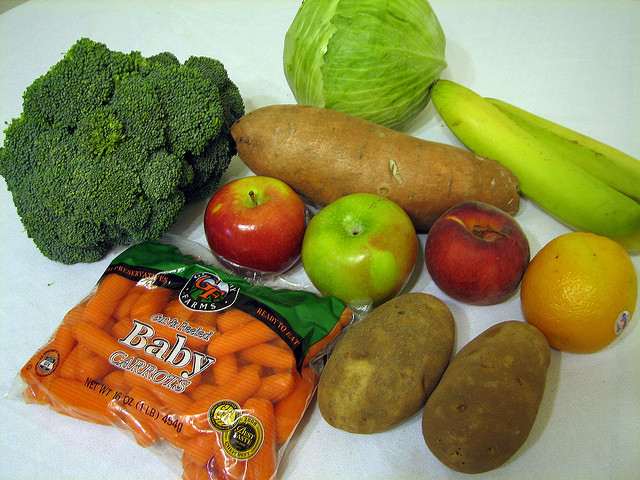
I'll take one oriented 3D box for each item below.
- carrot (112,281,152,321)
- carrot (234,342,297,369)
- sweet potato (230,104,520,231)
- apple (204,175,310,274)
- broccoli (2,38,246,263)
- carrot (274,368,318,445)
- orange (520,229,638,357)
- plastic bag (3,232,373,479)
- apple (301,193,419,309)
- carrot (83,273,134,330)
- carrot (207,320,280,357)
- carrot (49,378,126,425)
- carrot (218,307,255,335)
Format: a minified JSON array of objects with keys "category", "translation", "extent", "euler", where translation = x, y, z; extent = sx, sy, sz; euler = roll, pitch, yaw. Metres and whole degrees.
[{"category":"carrot","translation":[-0.466,0.141,1.354],"extent":[0.053,0.077,0.070],"euler":[-9,30,-27]},{"category":"carrot","translation":[-0.123,0.268,1.282],"extent":[0.126,0.036,0.045],"euler":[6,53,7]},{"category":"sweet potato","translation":[0.121,-0.195,1.615],"extent":[0.844,0.302,0.290],"euler":[15,42,12]},{"category":"apple","translation":[-0.186,-0.035,1.508],"extent":[0.215,0.233,0.228],"euler":[32,27,32]},{"category":"broccoli","translation":[-0.534,-0.256,1.538],"extent":[0.647,0.316,0.491],"euler":[-10,62,-5]},{"category":"carrot","translation":[-0.059,0.377,1.274],"extent":[0.076,0.053,0.165],"euler":[41,73,-24]},{"category":"orange","translation":[0.619,0.121,1.325],"extent":[0.251,0.143,0.257],"euler":[-7,62,-3]},{"category":"plastic bag","translation":[-0.304,0.277,1.286],"extent":[0.617,0.181,0.576],"euler":[19,57,14]},{"category":"apple","translation":[0.102,0.012,1.365],"extent":[0.242,0.253,0.267],"euler":[-10,44,8]},{"category":"carrot","translation":[-0.513,0.146,1.355],"extent":[0.065,0.046,0.139],"euler":[18,58,12]},{"category":"carrot","translation":[-0.181,0.229,1.296],"extent":[0.180,0.057,0.050],"euler":[-24,79,-14]},{"category":"carrot","translation":[-0.532,0.366,1.267],"extent":[0.190,0.047,0.069],"euler":[9,62,5]},{"category":"carrot","translation":[-0.209,0.193,1.316],"extent":[0.054,0.031,0.060],"euler":[-1,46,3]}]
